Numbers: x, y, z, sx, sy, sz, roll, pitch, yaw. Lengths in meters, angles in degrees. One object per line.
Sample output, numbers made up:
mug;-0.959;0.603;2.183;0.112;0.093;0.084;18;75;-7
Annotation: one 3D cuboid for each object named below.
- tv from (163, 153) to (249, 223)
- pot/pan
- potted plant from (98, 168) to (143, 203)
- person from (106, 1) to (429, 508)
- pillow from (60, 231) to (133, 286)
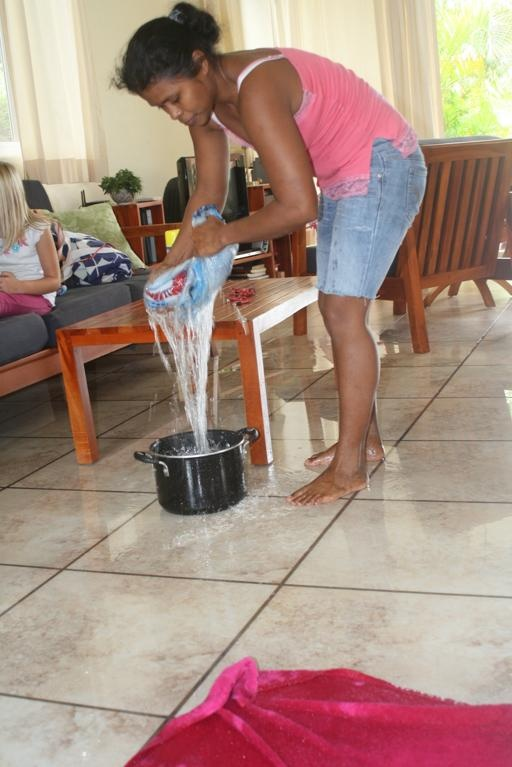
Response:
tv;-0.407;-1.504;4.497;0.709;0.613;0.350;-1;-14;1
pot/pan;-0.133;0.213;1.462;0.318;0.152;0.213;-11;14;-31
potted plant;-0.866;-1.224;3.808;0.232;0.173;0.230;20;39;26
person;0.086;-0.238;1.302;0.353;1.030;0.597;2;15;42
pillow;-0.752;-0.575;2.831;0.317;0.102;0.251;1;48;-4
